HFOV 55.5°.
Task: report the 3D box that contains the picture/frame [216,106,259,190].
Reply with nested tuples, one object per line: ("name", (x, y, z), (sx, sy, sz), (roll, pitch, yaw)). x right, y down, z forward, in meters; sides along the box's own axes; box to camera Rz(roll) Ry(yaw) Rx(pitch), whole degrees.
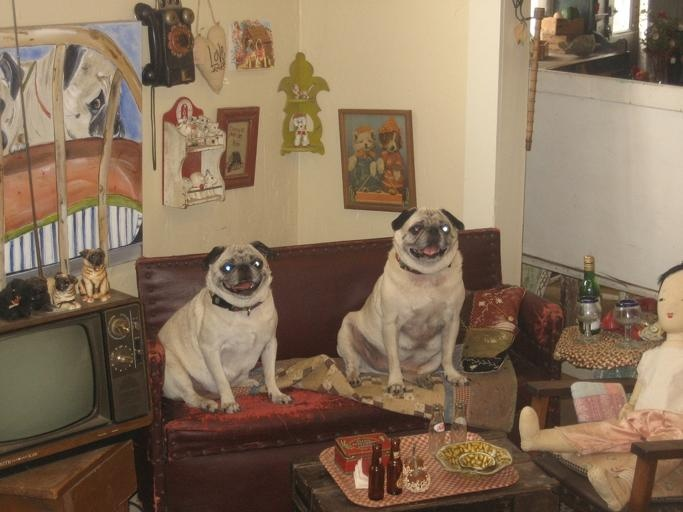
("picture/frame", (-0.784, -0.815, 4.755), (0.051, 0.765, 0.523), (11, 16, 30))

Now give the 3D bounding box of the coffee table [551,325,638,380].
("coffee table", (1.478, 0.626, 3.795), (0.371, 0.128, 0.392), (2, 9, 6))

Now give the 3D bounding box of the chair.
("chair", (1.256, 0.908, 3.083), (0.527, 0.430, 0.533), (-5, 14, -20))

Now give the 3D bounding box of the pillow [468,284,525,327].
("pillow", (0.960, 0.314, 4.059), (0.259, 0.092, 0.278), (-6, 42, 25))

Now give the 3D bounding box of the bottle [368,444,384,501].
("bottle", (0.145, 0.910, 2.779), (0.072, 0.226, 0.150), (0, 12, 3))

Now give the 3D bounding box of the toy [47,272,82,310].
("toy", (-1.330, 0.162, 3.075), (0.112, 0.108, 0.209), (-3, 14, -20))

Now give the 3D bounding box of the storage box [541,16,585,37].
("storage box", (1.855, -1.943, 5.439), (0.341, 0.184, 0.048), (4, 13, 21))

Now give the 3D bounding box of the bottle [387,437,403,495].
("bottle", (0.224, 0.904, 2.813), (0.068, 0.229, 0.125), (1, 12, 7))

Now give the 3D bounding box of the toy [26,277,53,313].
("toy", (-1.361, 0.176, 2.916), (0.086, 0.119, 0.146), (-4, 14, -19))
